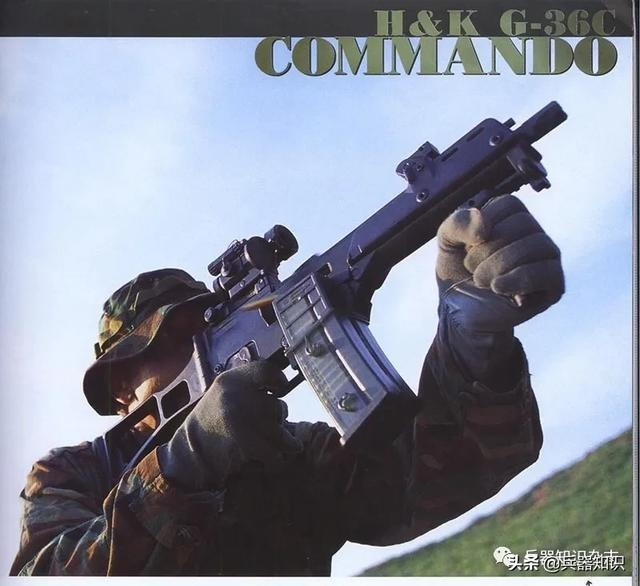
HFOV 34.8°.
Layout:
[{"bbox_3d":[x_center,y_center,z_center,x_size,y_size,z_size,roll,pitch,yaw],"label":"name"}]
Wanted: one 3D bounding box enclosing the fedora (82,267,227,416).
[{"bbox_3d":[-0.671,0.118,4.329,0.680,0.456,0.553,-13,-18,-30],"label":"fedora"}]
